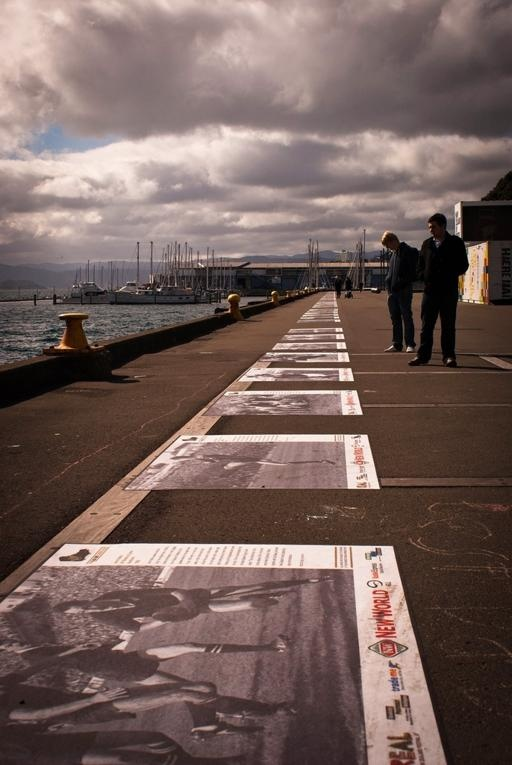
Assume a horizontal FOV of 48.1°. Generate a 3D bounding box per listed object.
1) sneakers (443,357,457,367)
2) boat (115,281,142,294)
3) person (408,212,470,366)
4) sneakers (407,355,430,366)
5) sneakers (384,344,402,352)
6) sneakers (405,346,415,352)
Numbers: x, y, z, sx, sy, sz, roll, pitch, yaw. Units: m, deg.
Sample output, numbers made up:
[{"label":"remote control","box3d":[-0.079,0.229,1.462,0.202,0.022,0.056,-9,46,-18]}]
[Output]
[{"label":"sneakers","box3d":[3.573,-0.372,10.570,0.105,0.122,0.278,-11,-2,2]},{"label":"boat","box3d":[-28.827,-21.766,131.738,4.452,3.408,6.758,-2,2,-11]},{"label":"person","box3d":[3.341,-1.482,10.433,0.931,2.418,0.560,-1,2,20]},{"label":"sneakers","box3d":[2.997,-0.404,10.726,0.445,0.179,0.226,2,-9,32]},{"label":"sneakers","box3d":[3.105,-0.779,13.007,0.385,0.178,0.149,1,12,7]},{"label":"sneakers","box3d":[3.445,-0.750,12.812,0.135,0.145,0.097,-4,2,-11]}]
